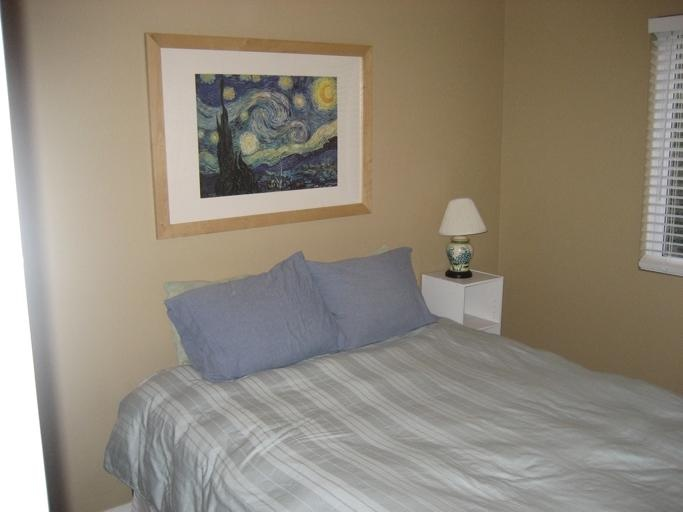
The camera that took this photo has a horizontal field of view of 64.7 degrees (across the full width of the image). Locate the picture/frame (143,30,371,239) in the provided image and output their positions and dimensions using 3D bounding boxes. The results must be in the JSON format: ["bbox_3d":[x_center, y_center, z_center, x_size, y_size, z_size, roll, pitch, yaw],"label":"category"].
[{"bbox_3d":[-0.127,-0.613,2.924,0.027,1.051,1.294,6,20,28],"label":"picture/frame"}]

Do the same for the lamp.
[{"bbox_3d":[0.767,-0.127,3.467,0.277,0.498,0.436,-4,11,8],"label":"lamp"}]

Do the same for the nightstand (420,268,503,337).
[{"bbox_3d":[0.759,0.211,3.441,0.485,0.494,0.368,-2,4,-42],"label":"nightstand"}]
